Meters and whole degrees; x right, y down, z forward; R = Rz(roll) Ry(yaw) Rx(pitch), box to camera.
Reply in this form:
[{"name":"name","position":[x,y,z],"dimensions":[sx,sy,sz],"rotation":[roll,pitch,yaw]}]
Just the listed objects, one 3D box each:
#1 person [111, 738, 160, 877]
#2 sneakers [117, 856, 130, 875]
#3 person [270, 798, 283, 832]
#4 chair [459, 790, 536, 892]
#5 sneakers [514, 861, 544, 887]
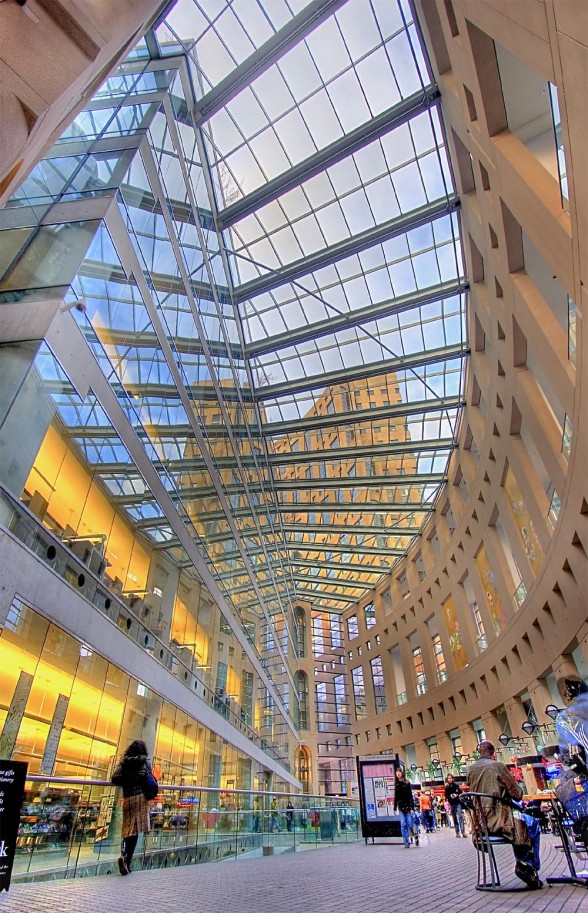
[{"name":"person","position":[-1.948,4.120,5.311],"dimensions":[0.513,1.238,1.003],"rotation":[9,-36,-17]},{"name":"sneakers","position":[-1.995,4.717,5.203],"dimensions":[0.147,0.160,0.207],"rotation":[2,-36,-7]},{"name":"person","position":[-0.443,8.311,10.433],"dimensions":[0.282,0.826,0.328],"rotation":[-10,-41,5]},{"name":"chair","position":[1.862,3.424,4.080],"dimensions":[0.554,0.708,1.149],"rotation":[-12,-37,13]},{"name":"sneakers","position":[1.866,3.318,3.573],"dimensions":[0.143,0.156,0.323],"rotation":[-18,-39,20]}]
